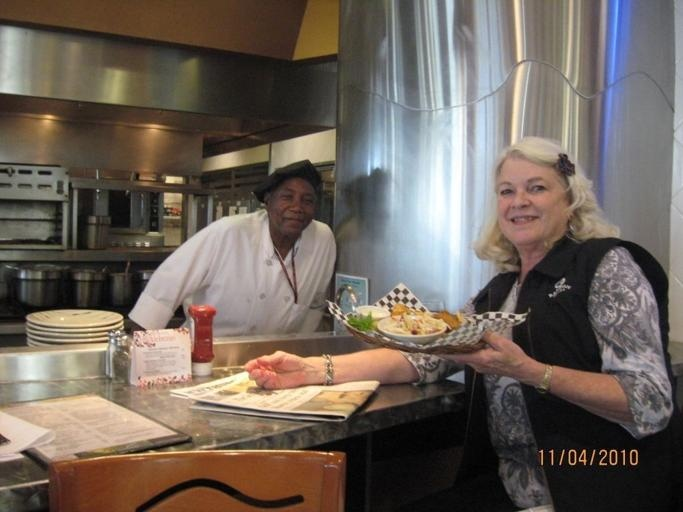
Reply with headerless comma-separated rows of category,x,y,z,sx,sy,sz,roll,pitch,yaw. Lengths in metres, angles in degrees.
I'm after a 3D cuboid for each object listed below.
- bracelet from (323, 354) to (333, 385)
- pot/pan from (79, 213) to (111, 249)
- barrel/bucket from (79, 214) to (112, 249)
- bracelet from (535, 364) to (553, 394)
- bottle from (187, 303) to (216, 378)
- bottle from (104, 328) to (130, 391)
bracelet,-0.040,0.354,1.775,0.021,0.062,0.060,3,-2,-8
pot/pan,-1.908,-0.194,4.415,0.254,0.276,0.256,3,-1,15
barrel/bucket,-1.908,-0.190,4.414,0.251,0.265,0.245,5,1,0
bracelet,0.537,0.326,1.489,0.041,0.068,0.071,15,2,22
bottle,-0.454,0.266,1.851,0.076,0.231,0.141,1,7,-13
bottle,-0.691,0.306,1.763,0.065,0.153,0.135,-2,8,-32
